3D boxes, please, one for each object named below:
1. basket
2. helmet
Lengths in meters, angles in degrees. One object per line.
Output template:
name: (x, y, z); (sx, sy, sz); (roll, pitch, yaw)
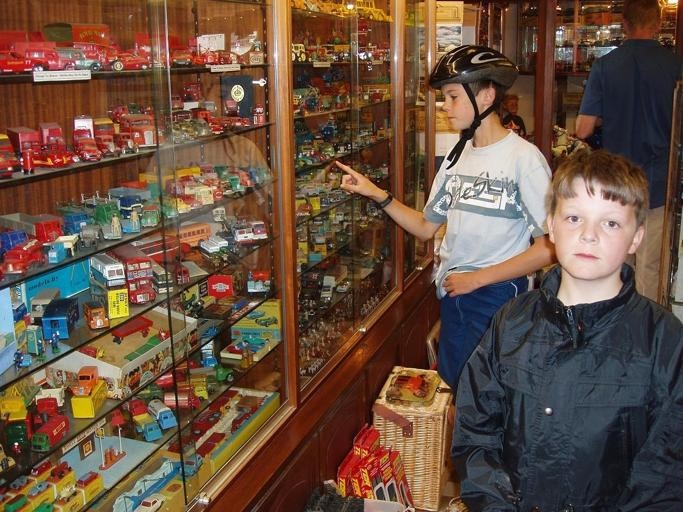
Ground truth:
basket: (0.420, 1.010, 3.531); (0.579, 0.903, 0.909); (5, 3, 16)
helmet: (0.643, -0.916, 2.546); (0.441, 0.194, 0.345); (0, 21, -6)
